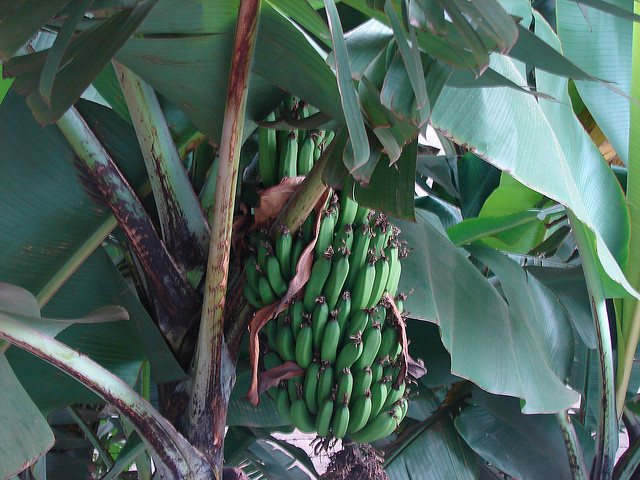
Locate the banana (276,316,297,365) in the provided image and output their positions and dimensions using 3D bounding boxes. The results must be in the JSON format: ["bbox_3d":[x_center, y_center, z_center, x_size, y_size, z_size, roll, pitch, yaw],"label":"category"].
[{"bbox_3d":[-0.113,0.343,2.258,0.042,0.187,0.069,-4,5,-1],"label":"banana"}]

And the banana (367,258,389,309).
[{"bbox_3d":[0.199,0.141,2.282,0.048,0.204,0.061,-2,16,-41],"label":"banana"}]

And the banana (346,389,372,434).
[{"bbox_3d":[0.129,0.569,2.241,0.057,0.182,0.051,-2,18,-46],"label":"banana"}]

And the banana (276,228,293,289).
[{"bbox_3d":[-0.114,0.058,2.216,0.041,0.204,0.060,-1,9,8],"label":"banana"}]

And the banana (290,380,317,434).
[{"bbox_3d":[-0.064,0.573,2.268,0.078,0.204,0.057,5,-30,-29],"label":"banana"}]

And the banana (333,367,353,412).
[{"bbox_3d":[0.075,0.490,2.190,0.039,0.176,0.053,5,-5,20],"label":"banana"}]

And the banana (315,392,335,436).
[{"bbox_3d":[0.016,0.585,2.194,0.053,0.174,0.042,11,-1,-18],"label":"banana"}]

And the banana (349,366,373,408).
[{"bbox_3d":[0.140,0.480,2.251,0.046,0.187,0.057,20,-3,19],"label":"banana"}]

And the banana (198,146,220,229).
[{"bbox_3d":[-0.402,-0.190,2.469,0.077,0.458,0.059,-22,-40,21],"label":"banana"}]

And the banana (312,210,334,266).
[{"bbox_3d":[0.018,-0.021,2.262,0.045,0.218,0.076,6,4,1],"label":"banana"}]

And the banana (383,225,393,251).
[{"bbox_3d":[0.234,-0.018,2.303,0.023,0.104,0.020,-3,-17,39],"label":"banana"}]

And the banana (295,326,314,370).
[{"bbox_3d":[-0.052,0.356,2.188,0.040,0.156,0.050,4,2,29],"label":"banana"}]

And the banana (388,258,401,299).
[{"bbox_3d":[0.263,0.138,2.313,0.031,0.169,0.041,20,30,22],"label":"banana"}]

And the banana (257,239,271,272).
[{"bbox_3d":[-0.189,0.044,2.208,0.028,0.127,0.043,7,-7,19],"label":"banana"}]

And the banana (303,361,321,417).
[{"bbox_3d":[-0.028,0.497,2.211,0.041,0.195,0.057,5,3,-6],"label":"banana"}]

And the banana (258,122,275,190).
[{"bbox_3d":[-0.187,-0.278,2.282,0.042,0.253,0.071,0,2,40],"label":"banana"}]

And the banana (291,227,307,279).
[{"bbox_3d":[-0.073,0.032,2.237,0.039,0.184,0.064,2,-15,25],"label":"banana"}]

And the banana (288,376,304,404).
[{"bbox_3d":[-0.086,0.496,2.239,0.028,0.124,0.041,1,7,11],"label":"banana"}]

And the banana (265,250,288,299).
[{"bbox_3d":[-0.151,0.134,2.215,0.088,0.071,0.268,32,17,-15],"label":"banana"}]

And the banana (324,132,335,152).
[{"bbox_3d":[0.032,-0.356,2.370,0.035,0.058,0.032,1,8,-1],"label":"banana"}]

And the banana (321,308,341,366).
[{"bbox_3d":[0.031,0.347,2.206,0.058,0.157,0.035,-1,8,-13],"label":"banana"}]

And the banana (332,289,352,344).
[{"bbox_3d":[0.081,0.246,2.255,0.041,0.199,0.061,6,4,21],"label":"banana"}]

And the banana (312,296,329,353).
[{"bbox_3d":[-0.004,0.281,2.202,0.041,0.199,0.069,0,-2,7],"label":"banana"}]

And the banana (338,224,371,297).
[{"bbox_3d":[0.125,0.059,2.248,0.055,0.351,0.110,9,-2,14],"label":"banana"}]

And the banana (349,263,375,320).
[{"bbox_3d":[0.139,0.176,2.277,0.061,0.226,0.058,3,19,-28],"label":"banana"}]

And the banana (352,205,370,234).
[{"bbox_3d":[0.137,-0.079,2.294,0.033,0.135,0.051,16,-1,-10],"label":"banana"}]

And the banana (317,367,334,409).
[{"bbox_3d":[0.016,0.482,2.200,0.035,0.157,0.045,4,-2,27],"label":"banana"}]

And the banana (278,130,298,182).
[{"bbox_3d":[-0.104,-0.279,2.232,0.043,0.198,0.060,1,-2,-8],"label":"banana"}]

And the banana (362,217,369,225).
[{"bbox_3d":[0.159,-0.065,2.293,0.011,0.026,0.006,21,-30,-10],"label":"banana"}]

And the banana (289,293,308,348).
[{"bbox_3d":[-0.073,0.262,2.217,0.043,0.193,0.060,-1,-3,4],"label":"banana"}]

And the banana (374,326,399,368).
[{"bbox_3d":[0.225,0.357,2.265,0.053,0.192,0.048,3,25,-10],"label":"banana"}]

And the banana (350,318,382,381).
[{"bbox_3d":[0.160,0.364,2.213,0.061,0.280,0.094,13,6,31],"label":"banana"}]

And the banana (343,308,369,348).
[{"bbox_3d":[0.124,0.280,2.252,0.046,0.189,0.058,23,-15,-1],"label":"banana"}]

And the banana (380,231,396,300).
[{"bbox_3d":[0.230,0.077,2.274,0.041,0.203,0.038,-1,-7,35],"label":"banana"}]

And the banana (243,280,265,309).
[{"bbox_3d":[-0.231,0.184,2.265,0.026,0.085,0.075,-16,45,-45],"label":"banana"}]

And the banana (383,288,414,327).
[{"bbox_3d":[0.272,0.221,2.310,0.037,0.224,0.056,34,-37,-19],"label":"banana"}]

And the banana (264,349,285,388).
[{"bbox_3d":[-0.153,0.440,2.283,0.065,0.114,0.025,-27,-14,21],"label":"banana"}]

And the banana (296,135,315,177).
[{"bbox_3d":[-0.061,-0.274,2.334,0.065,0.102,0.265,2,-14,-7],"label":"banana"}]

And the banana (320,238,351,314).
[{"bbox_3d":[0.051,0.133,2.213,0.064,0.297,0.104,11,12,14],"label":"banana"}]

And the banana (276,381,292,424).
[{"bbox_3d":[-0.129,0.543,2.297,0.048,0.173,0.041,-5,0,-31],"label":"banana"}]

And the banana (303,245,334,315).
[{"bbox_3d":[-0.011,0.138,2.218,0.057,0.316,0.098,11,9,1],"label":"banana"}]

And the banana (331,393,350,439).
[{"bbox_3d":[0.065,0.575,2.193,0.058,0.199,0.053,-16,33,-29],"label":"banana"}]

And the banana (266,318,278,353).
[{"bbox_3d":[-0.164,0.317,2.260,0.036,0.132,0.029,-3,-1,-39],"label":"banana"}]

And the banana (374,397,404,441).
[{"bbox_3d":[0.239,0.583,2.274,0.067,0.195,0.051,12,-6,32],"label":"banana"}]

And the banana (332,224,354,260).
[{"bbox_3d":[0.078,-0.001,2.233,0.050,0.124,0.039,25,-19,-14],"label":"banana"}]

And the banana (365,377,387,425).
[{"bbox_3d":[0.183,0.529,2.224,0.051,0.183,0.048,8,13,9],"label":"banana"}]

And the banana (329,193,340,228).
[{"bbox_3d":[0.048,-0.100,2.251,0.023,0.112,0.039,2,12,9],"label":"banana"}]
